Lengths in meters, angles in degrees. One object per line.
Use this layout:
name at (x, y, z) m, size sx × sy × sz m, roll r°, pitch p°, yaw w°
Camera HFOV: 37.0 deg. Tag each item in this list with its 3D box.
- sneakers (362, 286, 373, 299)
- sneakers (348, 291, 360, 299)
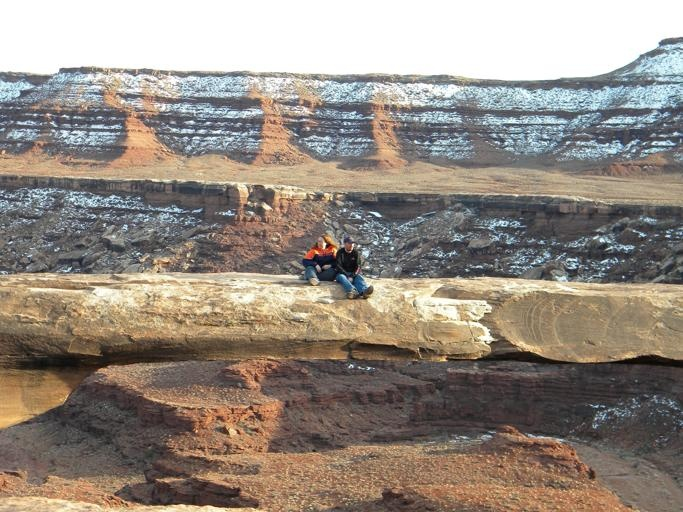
sneakers at (0.526, 0.707, 19.821) m, size 0.124 × 0.276 × 0.148 m, roll 47°, pitch -23°, yaw -26°
sneakers at (0.240, 0.744, 19.794) m, size 0.231 × 0.112 × 0.355 m, roll 1°, pitch -6°, yaw -3°
